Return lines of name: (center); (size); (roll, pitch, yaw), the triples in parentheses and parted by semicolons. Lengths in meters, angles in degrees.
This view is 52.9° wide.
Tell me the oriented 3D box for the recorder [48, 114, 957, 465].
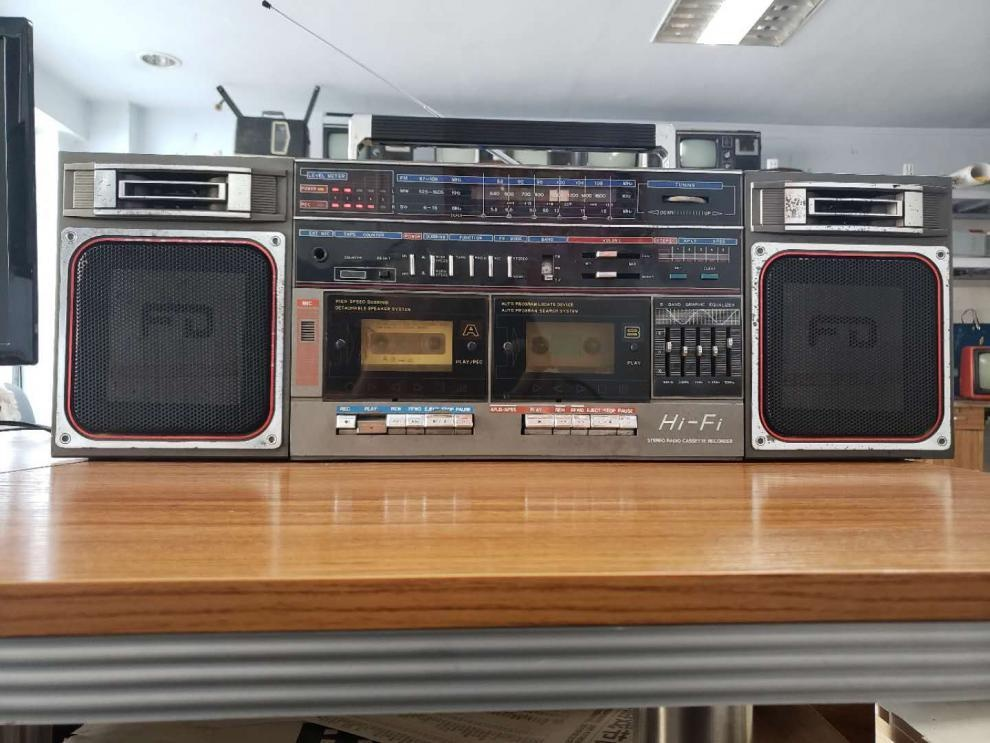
recorder: (0.037, -0.124, 1.971); (1.774, 0.596, 0.222); (-1, 15, -2)
